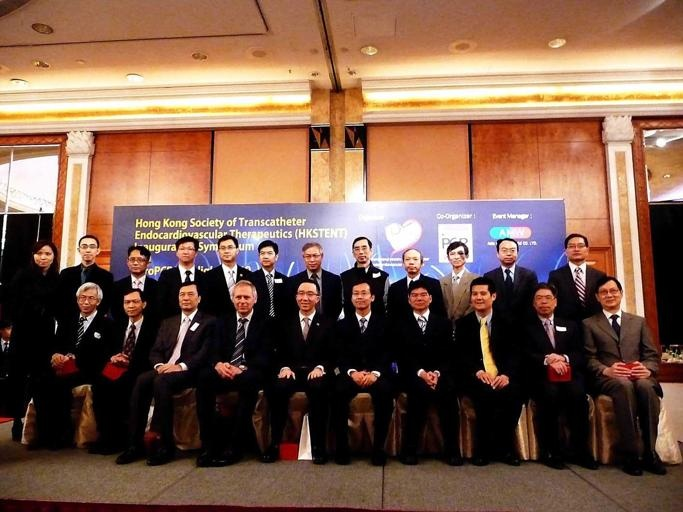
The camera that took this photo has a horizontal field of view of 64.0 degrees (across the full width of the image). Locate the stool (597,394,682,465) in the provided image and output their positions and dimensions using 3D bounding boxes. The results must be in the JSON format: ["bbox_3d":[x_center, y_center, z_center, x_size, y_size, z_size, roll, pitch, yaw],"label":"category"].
[{"bbox_3d":[2.590,1.537,5.001,0.691,0.582,0.644,0,-26,6],"label":"stool"}]

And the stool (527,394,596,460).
[{"bbox_3d":[1.967,1.467,4.903,0.462,0.572,0.156,2,-4,6],"label":"stool"}]

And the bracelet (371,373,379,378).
[{"bbox_3d":[0.303,1.064,4.878,0.042,0.044,0.047,24,11,13],"label":"bracelet"}]
